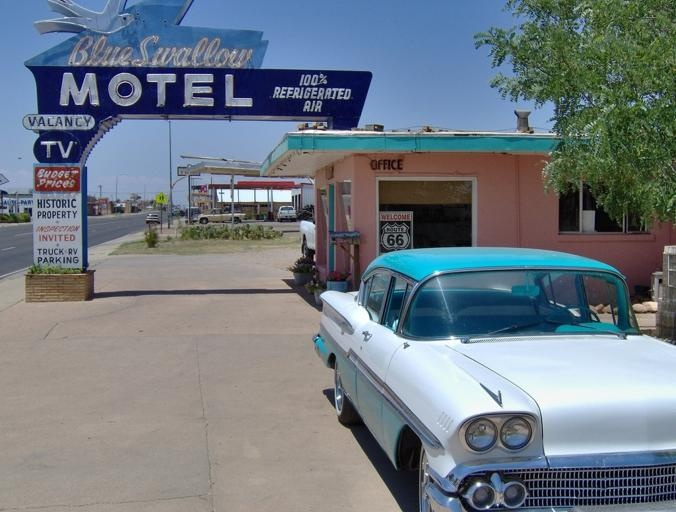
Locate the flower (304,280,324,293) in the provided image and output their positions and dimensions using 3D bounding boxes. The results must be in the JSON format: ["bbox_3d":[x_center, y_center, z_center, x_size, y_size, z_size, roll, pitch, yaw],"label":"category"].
[{"bbox_3d":[-0.527,0.706,13.968,0.338,0.245,0.344,2,-3,-17],"label":"flower"}]

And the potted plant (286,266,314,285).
[{"bbox_3d":[-0.974,0.515,16.711,0.533,0.382,0.552,2,3,10],"label":"potted plant"}]

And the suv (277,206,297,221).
[{"bbox_3d":[-5.964,-4.901,69.264,2.093,1.570,2.181,-1,4,-5],"label":"suv"}]

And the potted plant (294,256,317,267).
[{"bbox_3d":[-0.976,0.152,17.705,0.379,0.292,0.413,0,4,-2],"label":"potted plant"}]
